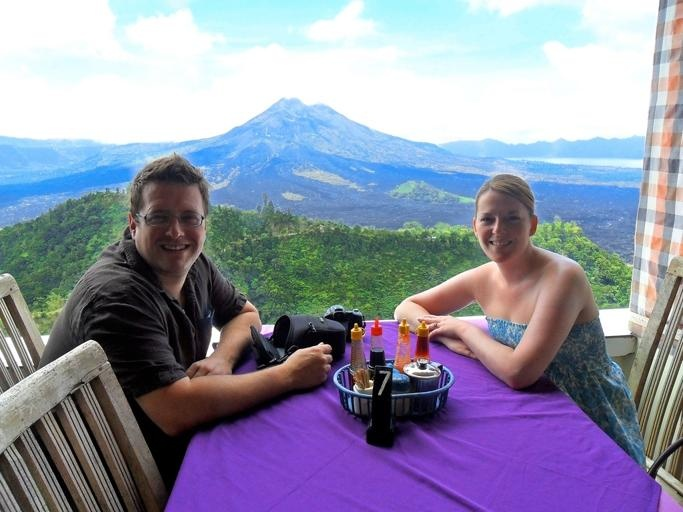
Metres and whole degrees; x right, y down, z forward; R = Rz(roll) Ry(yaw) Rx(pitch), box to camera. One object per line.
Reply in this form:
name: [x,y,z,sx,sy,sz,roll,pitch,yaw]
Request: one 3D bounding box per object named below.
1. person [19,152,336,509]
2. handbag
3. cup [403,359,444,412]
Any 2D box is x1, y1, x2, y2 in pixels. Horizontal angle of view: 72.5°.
person: [-0.318,0.095,2.208,1.312,1.803,0.846,2,21,-4]
handbag: [-0.170,0.317,1.869,0.277,0.132,0.216,-4,6,-21]
cup: [0.261,0.420,1.532,0.168,0.147,0.112,-1,6,-16]
